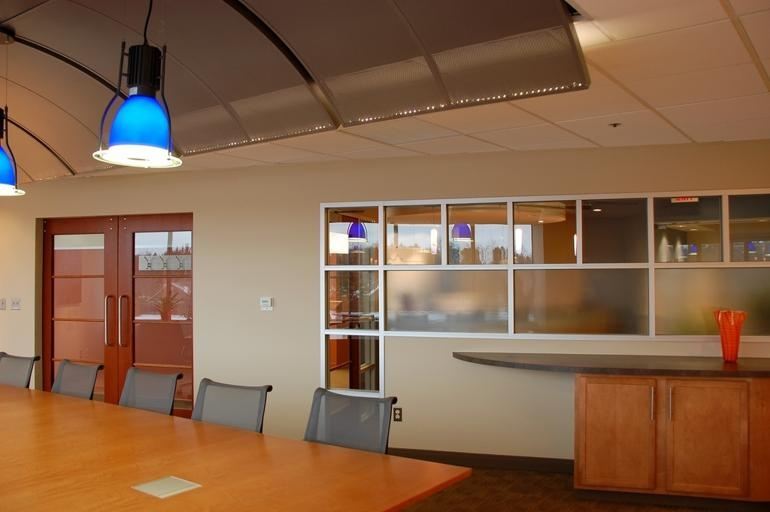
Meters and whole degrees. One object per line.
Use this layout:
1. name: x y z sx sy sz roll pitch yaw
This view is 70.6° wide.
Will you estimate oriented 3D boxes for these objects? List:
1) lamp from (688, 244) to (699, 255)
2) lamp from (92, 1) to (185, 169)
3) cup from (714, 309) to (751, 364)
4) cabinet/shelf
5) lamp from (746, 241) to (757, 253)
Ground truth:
1. lamp: 3.155 -0.074 5.542 0.084 0.105 0.032 2 11 11
2. lamp: -1.755 -1.216 3.778 0.536 1.187 1.353 -5 11 -22
3. cup: 3.343 0.762 5.272 0.245 0.499 0.381 0 10 5
4. cabinet/shelf: 2.585 1.625 4.943 1.382 0.890 0.493 0 -4 12
5. lamp: 3.696 -0.099 5.467 0.140 0.118 0.072 1 0 25
